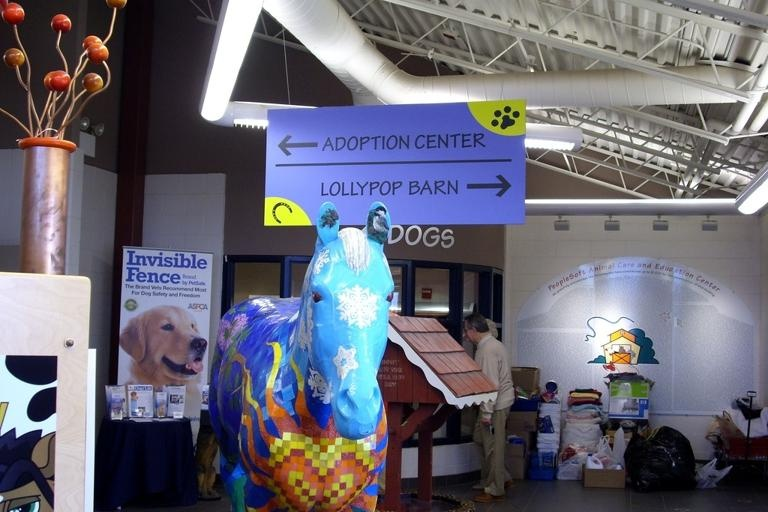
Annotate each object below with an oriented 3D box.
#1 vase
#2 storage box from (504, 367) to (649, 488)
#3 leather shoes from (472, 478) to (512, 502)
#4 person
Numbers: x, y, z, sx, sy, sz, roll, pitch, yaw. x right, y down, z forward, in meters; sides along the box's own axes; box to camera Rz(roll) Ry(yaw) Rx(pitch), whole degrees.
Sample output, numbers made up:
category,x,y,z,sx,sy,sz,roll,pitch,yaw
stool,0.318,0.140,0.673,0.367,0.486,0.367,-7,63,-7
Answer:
category,x,y,z,sx,sy,sz,roll,pitch,yaw
vase,-1.461,-0.217,2.901,0.215,0.611,0.295,4,-7,-28
storage box,2.940,2.674,10.282,1.601,0.799,2.326,0,-1,4
leather shoes,1.417,3.039,8.764,0.650,0.298,0.228,16,-13,-40
person,1.359,1.922,8.629,0.505,2.328,0.611,-3,-7,30
